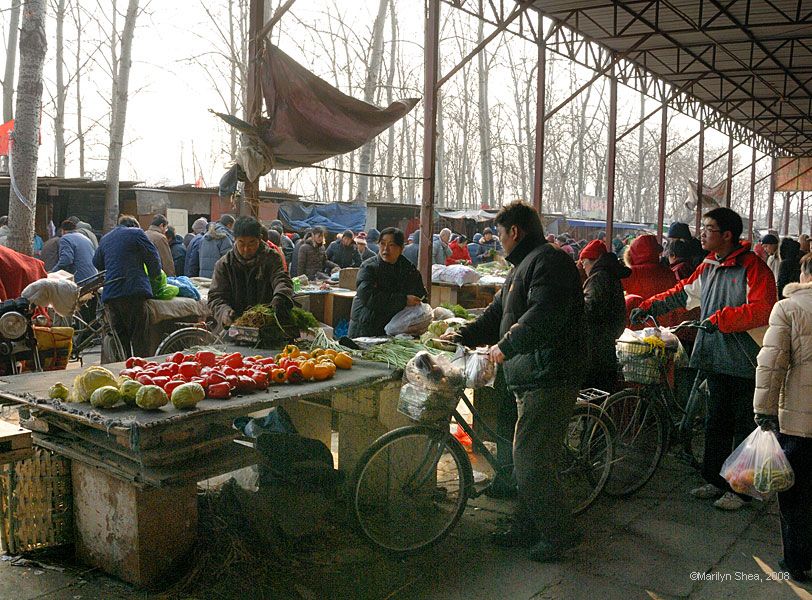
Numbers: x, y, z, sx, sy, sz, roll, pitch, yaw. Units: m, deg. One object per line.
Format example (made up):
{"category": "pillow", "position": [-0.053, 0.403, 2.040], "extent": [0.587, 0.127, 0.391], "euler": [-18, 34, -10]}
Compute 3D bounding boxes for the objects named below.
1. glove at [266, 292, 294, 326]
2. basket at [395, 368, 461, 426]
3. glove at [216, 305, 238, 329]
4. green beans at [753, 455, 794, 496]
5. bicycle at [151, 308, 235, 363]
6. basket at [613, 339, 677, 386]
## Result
{"category": "glove", "position": [-1.162, 0.072, 6.845], "extent": [0.185, 0.285, 0.089], "euler": [-10, 12, -31]}
{"category": "basket", "position": [0.204, 0.713, 5.941], "extent": [0.385, 0.402, 0.511], "euler": [10, 9, 38]}
{"category": "glove", "position": [-1.722, 0.141, 7.212], "extent": [0.162, 0.256, 0.102], "euler": [5, 6, 20]}
{"category": "green beans", "position": [2.758, 1.323, 5.625], "extent": [0.215, 0.328, 0.131], "euler": [-15, -3, 24]}
{"category": "bicycle", "position": [-2.795, 0.328, 9.249], "extent": [0.978, 0.697, 0.514], "euler": [-6, -10, 18]}
{"category": "basket", "position": [2.232, 0.523, 7.007], "extent": [0.428, 0.346, 0.433], "euler": [-1, 3, -36]}
